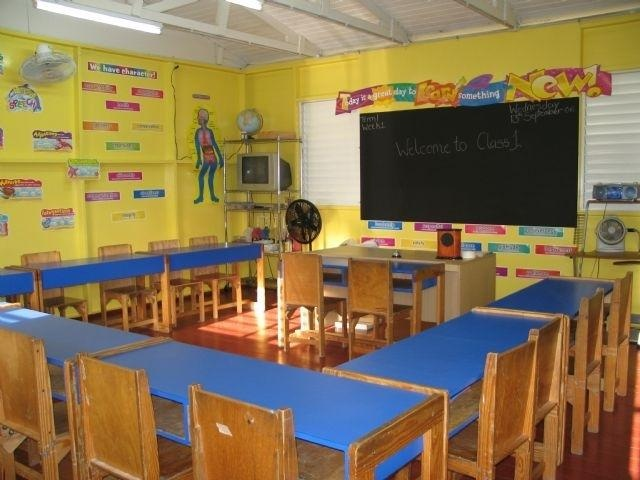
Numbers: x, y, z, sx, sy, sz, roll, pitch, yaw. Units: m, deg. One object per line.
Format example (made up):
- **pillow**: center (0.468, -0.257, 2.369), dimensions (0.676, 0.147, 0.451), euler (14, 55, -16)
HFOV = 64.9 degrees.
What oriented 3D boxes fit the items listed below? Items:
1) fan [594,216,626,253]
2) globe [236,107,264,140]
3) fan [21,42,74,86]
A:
- **fan**: center (3.204, -0.057, 5.567), dimensions (0.284, 0.405, 0.410), euler (-1, -2, 24)
- **globe**: center (-1.160, -1.893, 8.038), dimensions (0.433, 0.524, 0.501), euler (-16, 30, -40)
- **fan**: center (-3.134, -2.068, 5.862), dimensions (0.511, 0.398, 0.421), euler (-1, 4, 14)
